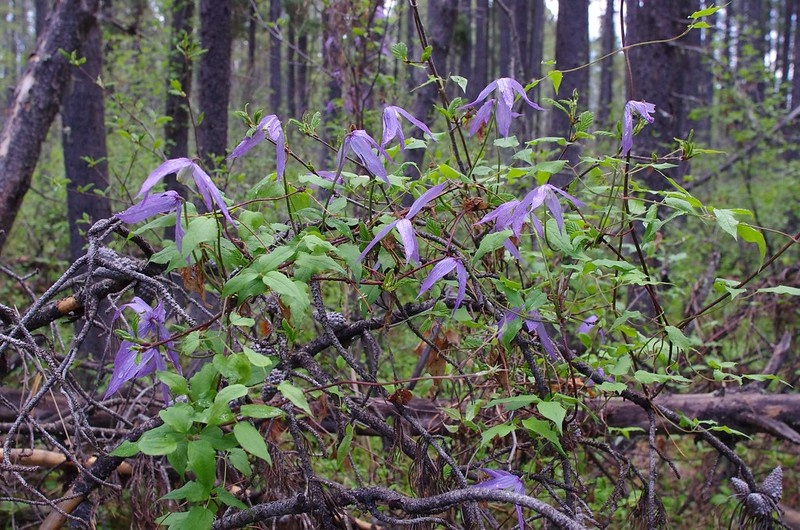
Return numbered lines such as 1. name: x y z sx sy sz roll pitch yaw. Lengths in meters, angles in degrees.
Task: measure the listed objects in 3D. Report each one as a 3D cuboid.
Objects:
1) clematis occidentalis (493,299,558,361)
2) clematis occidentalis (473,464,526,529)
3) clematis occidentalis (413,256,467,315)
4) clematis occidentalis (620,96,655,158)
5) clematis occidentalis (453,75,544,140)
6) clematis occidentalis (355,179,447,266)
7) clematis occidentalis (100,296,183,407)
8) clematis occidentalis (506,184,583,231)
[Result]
1. clematis occidentalis: 1.210 0.637 9.184 0.596 0.483 0.271 2 4 -6
2. clematis occidentalis: 0.925 2.172 9.053 0.477 0.562 0.422 3 4 6
3. clematis occidentalis: 0.414 0.159 8.902 0.546 0.465 0.377 1 4 -15
4. clematis occidentalis: 2.227 -1.285 9.169 0.288 0.539 0.447 3 4 14
5. clematis occidentalis: 0.977 -1.489 9.212 0.536 0.462 0.591 3 -1 22
6. clematis occidentalis: 0.041 -0.403 8.991 0.580 0.762 0.849 5 5 36
7. clematis occidentalis: -2.345 0.765 8.964 0.659 0.899 0.476 1 4 -16
8. clematis occidentalis: 1.271 -0.551 8.873 0.430 0.246 0.487 -3 -4 -3
